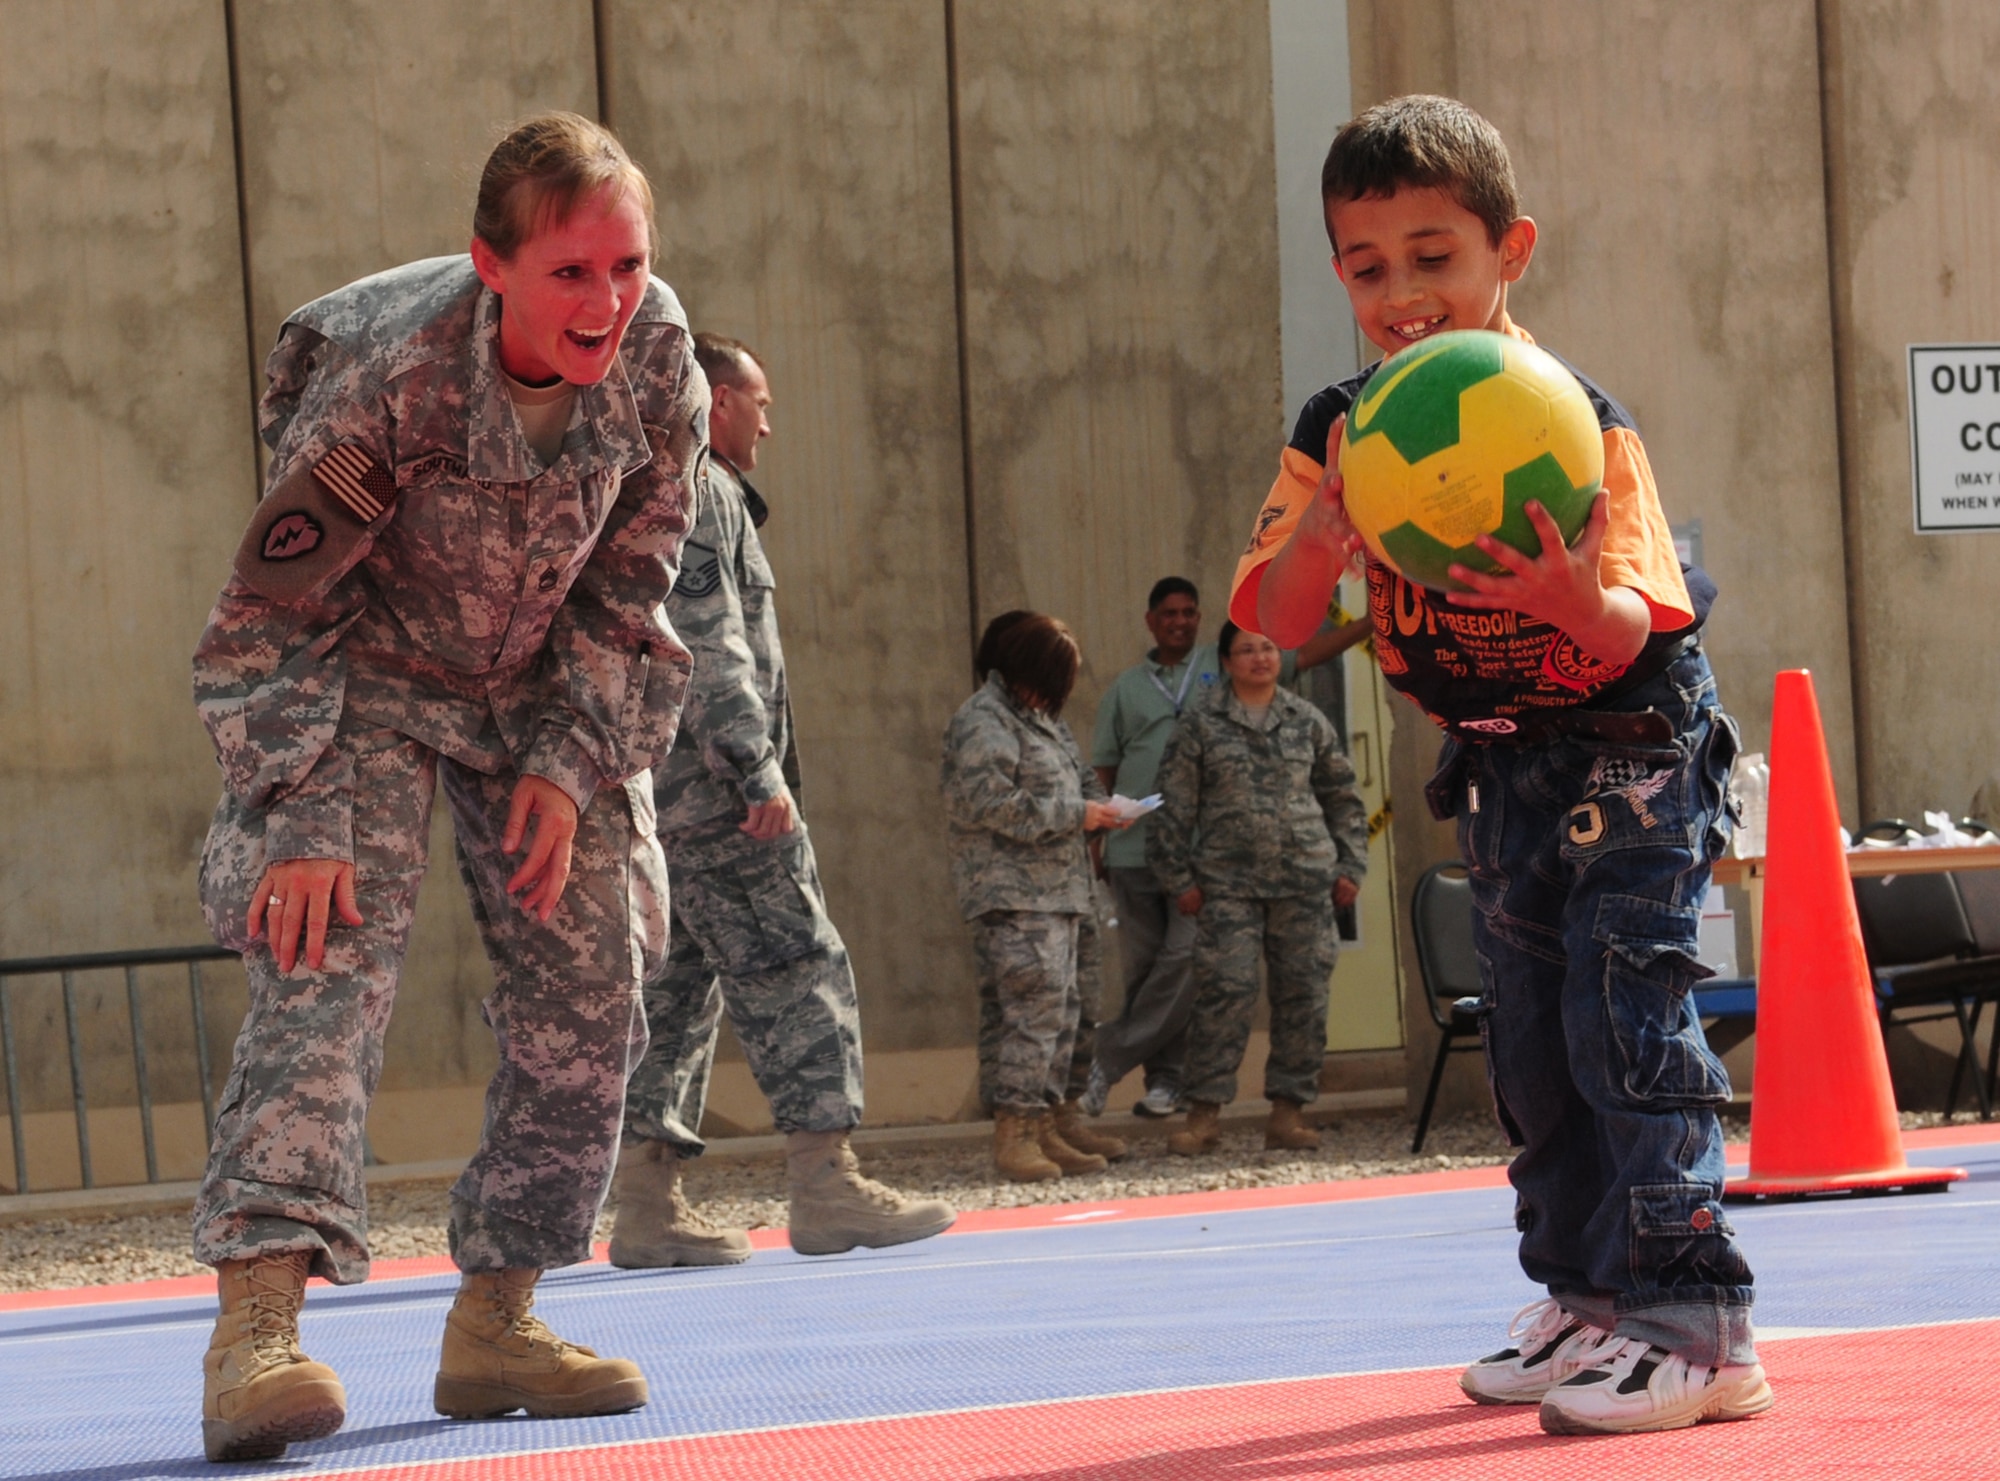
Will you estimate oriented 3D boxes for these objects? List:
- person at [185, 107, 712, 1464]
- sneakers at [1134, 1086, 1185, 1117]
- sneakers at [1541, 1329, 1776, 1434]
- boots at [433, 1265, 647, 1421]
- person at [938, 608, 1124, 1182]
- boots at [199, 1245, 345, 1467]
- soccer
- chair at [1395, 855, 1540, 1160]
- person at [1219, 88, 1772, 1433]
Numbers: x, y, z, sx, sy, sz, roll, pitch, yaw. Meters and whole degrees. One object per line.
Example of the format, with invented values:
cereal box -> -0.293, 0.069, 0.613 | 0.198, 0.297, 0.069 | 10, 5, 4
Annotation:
person -> -1.151, 0.086, 6.614 | 1.169, 2.769, 0.673 | -3, -4, -14
sneakers -> 0.640, 1.405, 12.118 | 0.151, 0.157, 0.357 | -2, -12, 6
sneakers -> 1.347, 1.297, 6.344 | 0.570, 0.246, 0.206 | 2, -11, -30
boots -> -0.915, 1.330, 6.756 | 0.610, 0.427, 0.218 | 1, -6, -2
person -> 0.128, 0.530, 11.178 | 0.586, 2.045, 0.605 | -3, -4, -13
boots -> -1.508, 1.280, 6.453 | 0.273, 0.426, 0.206 | -3, -4, -16
soccer -> 0.988, -0.563, 6.408 | 0.515, 0.568, 0.507 | 1, 25, -4
chair -> 1.659, 0.959, 11.128 | 0.702, 0.993, 0.703 | -4, -6, 1
person -> 1.070, 0.010, 6.439 | 0.887, 2.781, 0.573 | -5, -4, 13
